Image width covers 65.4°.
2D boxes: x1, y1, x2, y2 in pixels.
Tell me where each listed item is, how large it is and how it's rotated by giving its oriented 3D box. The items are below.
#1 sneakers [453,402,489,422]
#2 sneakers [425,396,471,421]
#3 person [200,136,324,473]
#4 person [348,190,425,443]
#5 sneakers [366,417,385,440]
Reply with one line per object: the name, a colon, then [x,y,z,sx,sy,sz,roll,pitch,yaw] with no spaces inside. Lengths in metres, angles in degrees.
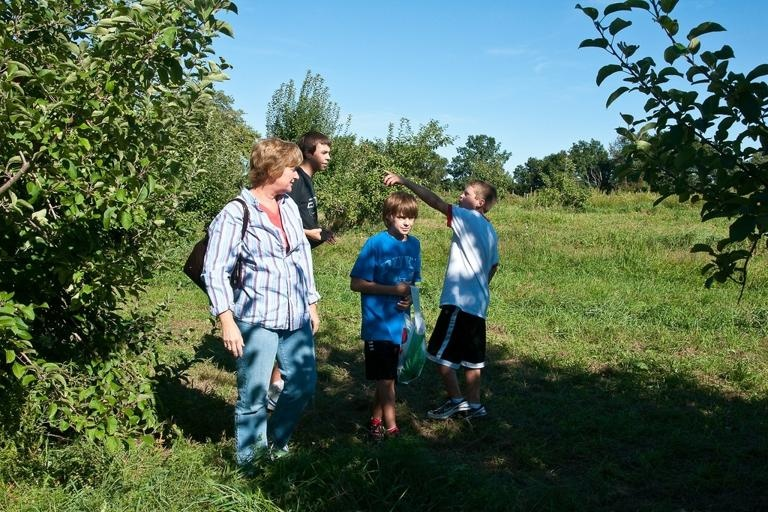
sneakers: [0.923,1.645,6.359,0.408,0.179,0.147,0,-1,-8]
sneakers: [0.707,1.604,6.430,0.516,0.230,0.191,-18,-10,8]
person: [-0.971,0.411,5.045,0.609,2.715,1.041,9,18,42]
person: [0.016,0.563,6.015,0.584,2.347,0.863,3,15,23]
sneakers: [-0.091,1.718,5.978,0.175,0.235,0.196,-4,0,-4]
